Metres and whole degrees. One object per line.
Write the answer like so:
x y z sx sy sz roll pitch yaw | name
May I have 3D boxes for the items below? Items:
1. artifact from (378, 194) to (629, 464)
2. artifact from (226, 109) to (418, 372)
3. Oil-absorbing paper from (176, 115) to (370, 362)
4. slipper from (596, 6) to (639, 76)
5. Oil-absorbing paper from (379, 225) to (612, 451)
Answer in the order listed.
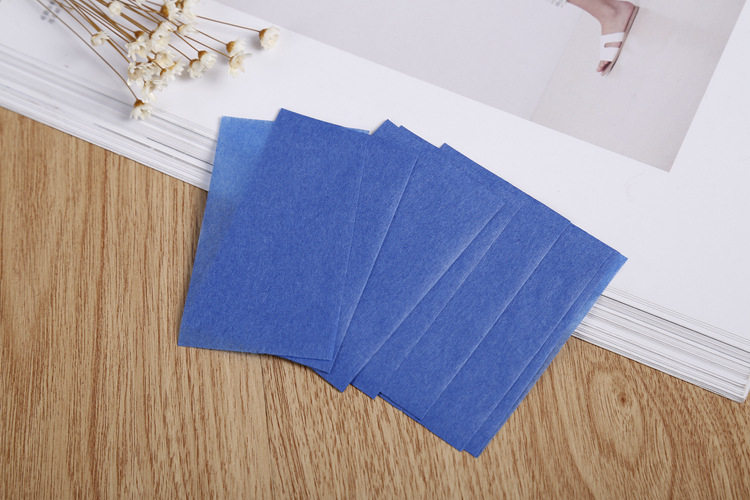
0.259 0.133 1.214 0.280 0.396 0.093 34 2 4 | artifact
-0.074 0.012 1.229 0.272 0.408 0.089 19 -7 7 | artifact
-0.148 -0.012 1.283 0.284 0.488 0.026 9 -3 5 | Oil-absorbing paper
0.434 -0.374 1.246 0.051 0.127 0.038 2 27 -41 | slipper
0.236 0.152 1.229 0.274 0.391 0.093 36 0 3 | Oil-absorbing paper
